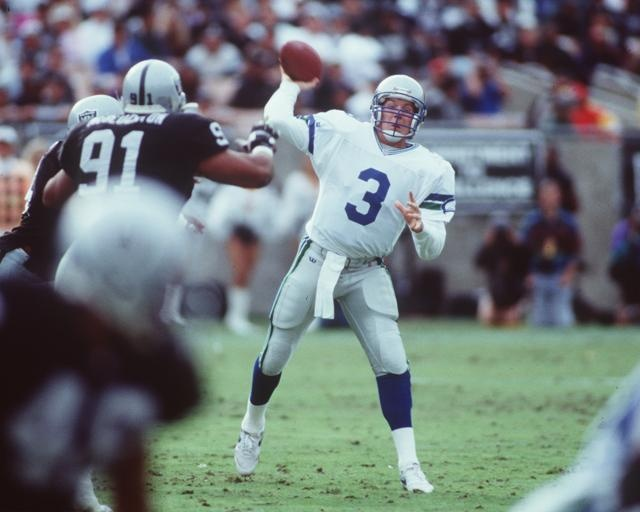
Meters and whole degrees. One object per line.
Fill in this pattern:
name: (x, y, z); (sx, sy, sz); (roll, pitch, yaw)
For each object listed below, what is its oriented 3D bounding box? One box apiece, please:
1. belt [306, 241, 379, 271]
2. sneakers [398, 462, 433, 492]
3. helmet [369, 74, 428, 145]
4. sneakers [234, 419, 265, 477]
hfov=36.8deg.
belt: (0.112, -0.013, 4.873); (0.418, 0.160, 0.213); (-1, 2, -1)
sneakers: (0.458, 1.054, 4.597); (0.158, 0.114, 0.224); (-1, 2, 5)
helmet: (0.346, -0.730, 5.017); (0.291, 0.359, 0.356); (5, -11, 1)
sneakers: (-0.360, 0.978, 4.875); (0.090, 0.104, 0.263); (15, 40, -12)
